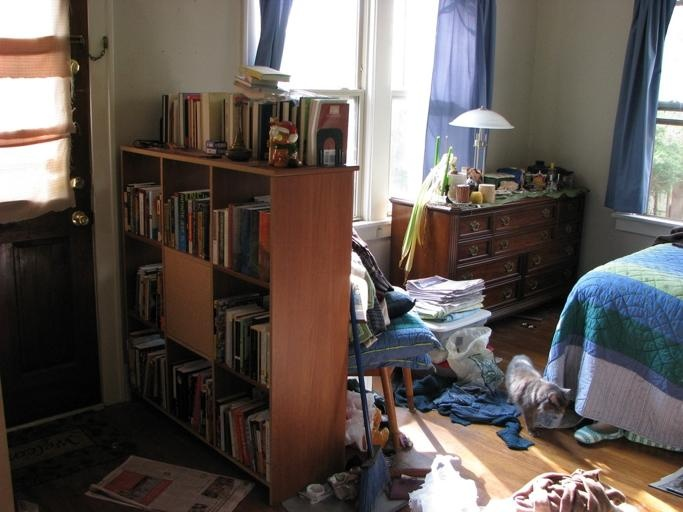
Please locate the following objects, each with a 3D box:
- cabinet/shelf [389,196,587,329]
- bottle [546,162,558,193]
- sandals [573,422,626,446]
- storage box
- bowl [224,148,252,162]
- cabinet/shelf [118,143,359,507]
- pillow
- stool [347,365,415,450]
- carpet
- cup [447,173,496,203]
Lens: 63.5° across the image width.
[{"bbox_3d":[1.363,-0.047,4.656,1.522,0.977,0.545,-10,18,-27],"label":"cabinet/shelf"},{"bbox_3d":[1.846,-0.684,4.776,0.099,0.203,0.363,5,17,21],"label":"bottle"},{"bbox_3d":[1.444,0.999,3.088,0.270,0.105,0.114,-1,9,-7],"label":"sandals"},{"bbox_3d":[0.738,0.464,3.623,0.416,0.197,0.304,-12,16,-39],"label":"storage box"},{"bbox_3d":[-0.478,-0.467,2.544,0.069,0.039,0.079,8,12,30],"label":"bowl"},{"bbox_3d":[-0.466,0.351,2.665,0.470,1.422,1.409,-12,20,-39],"label":"cabinet/shelf"},{"bbox_3d":[0.281,0.407,2.862,0.330,0.115,0.334,-9,11,-20],"label":"pillow"},{"bbox_3d":[0.267,0.827,3.101,0.391,0.388,0.394,-12,-5,35],"label":"stool"},{"bbox_3d":[-1.430,0.991,2.916,0.558,0.063,0.551,-12,19,-31],"label":"carpet"},{"bbox_3d":[1.004,-0.518,4.160,0.375,0.239,0.200,-5,15,-15],"label":"cup"}]
